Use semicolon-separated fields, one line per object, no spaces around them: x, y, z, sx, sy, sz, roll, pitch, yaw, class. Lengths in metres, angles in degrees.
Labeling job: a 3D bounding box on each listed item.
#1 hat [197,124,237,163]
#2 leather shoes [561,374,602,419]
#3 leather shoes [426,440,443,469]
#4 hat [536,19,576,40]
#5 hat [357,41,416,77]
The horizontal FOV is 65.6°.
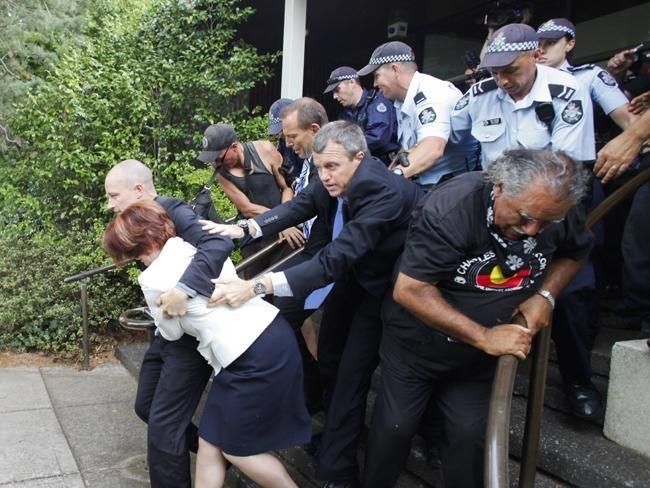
-0.995;-0.916;4.639;0.254;0.224;0.413;20;59;34;hat
1.558;0.934;3.096;0.243;0.204;0.186;8;9;43;leather shoes
0.652;1.258;3.024;0.089;0.152;0.054;-19;-21;33;leather shoes
1.689;-1.562;3.694;0.259;0.142;0.199;-4;15;-12;hat
0.493;-1.494;4.034;0.412;0.215;0.284;-6;15;17;hat
